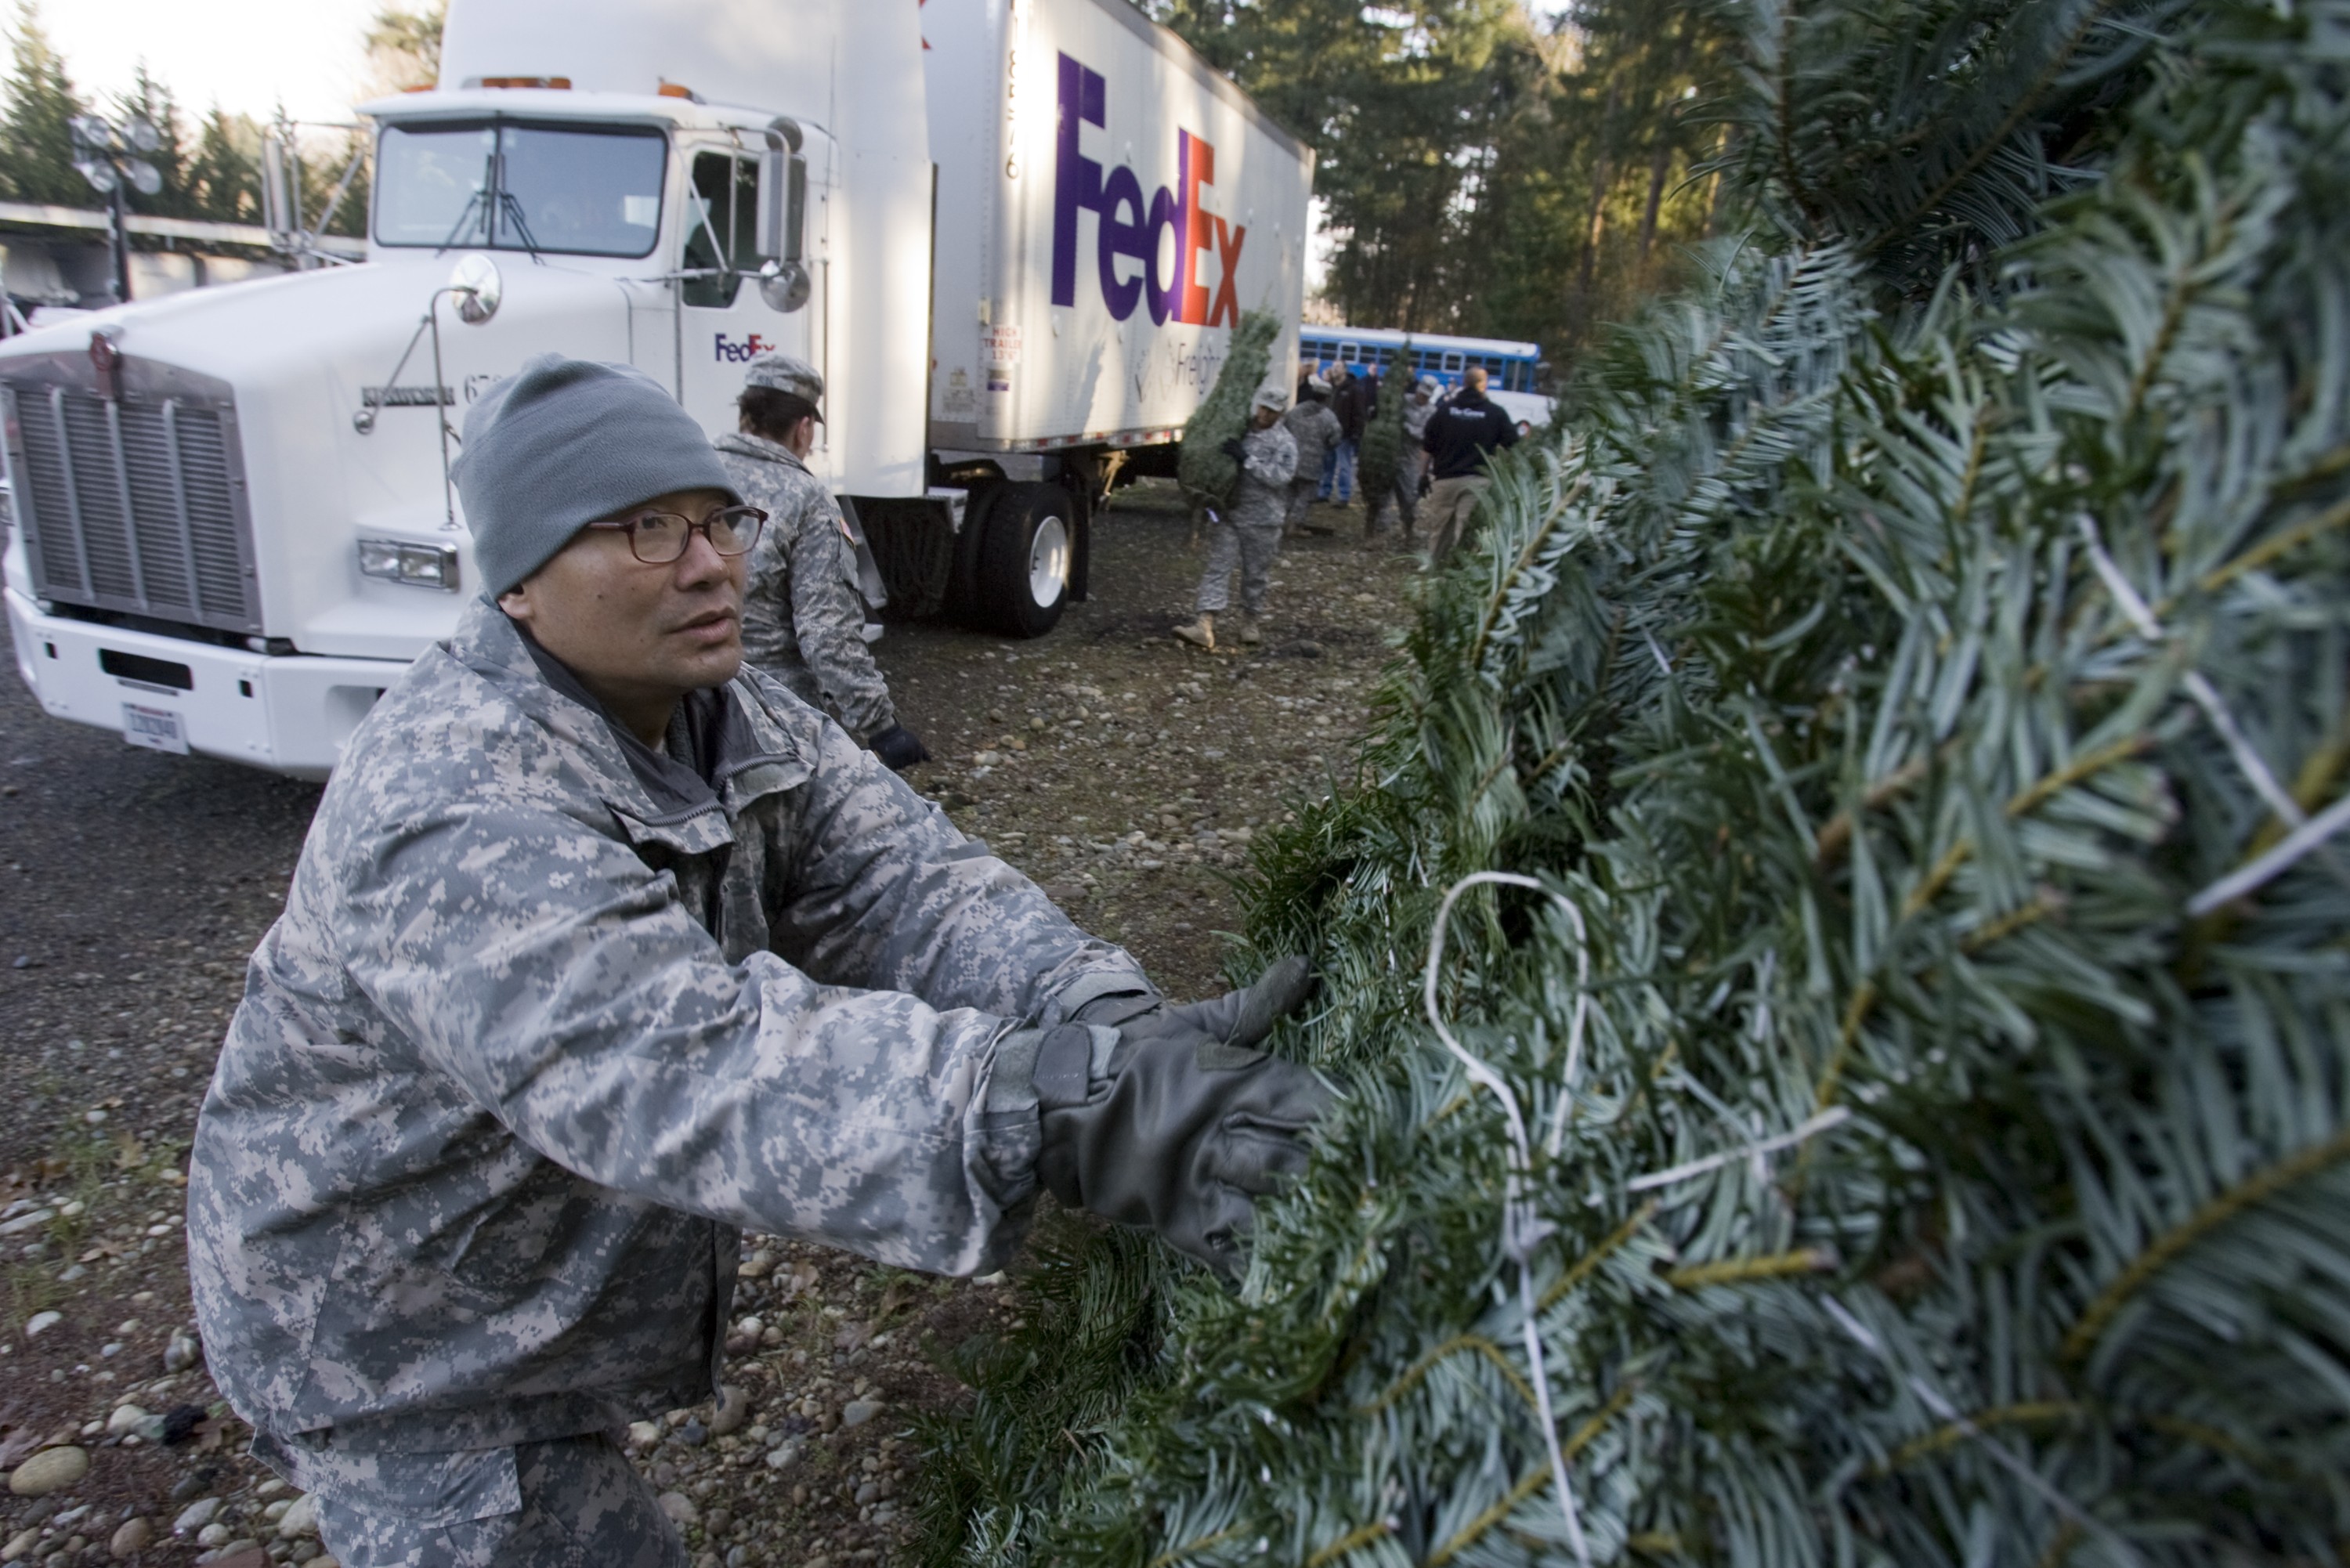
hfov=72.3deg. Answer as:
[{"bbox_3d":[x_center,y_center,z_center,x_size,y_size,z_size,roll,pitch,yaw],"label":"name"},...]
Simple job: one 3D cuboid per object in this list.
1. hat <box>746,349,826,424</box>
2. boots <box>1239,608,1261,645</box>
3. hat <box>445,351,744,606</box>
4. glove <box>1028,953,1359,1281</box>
[{"bbox_3d":[-1.443,-1.497,6.001,0.268,0.199,0.355,8,16,-1],"label":"hat"},{"bbox_3d":[0.505,-1.018,10.127,0.153,0.235,0.157,-5,10,-11],"label":"boots"},{"bbox_3d":[-0.804,-0.413,2.254,0.344,0.310,0.271,-20,11,11],"label":"hat"},{"bbox_3d":[0.026,0.394,1.791,0.325,0.164,0.273,19,45,29],"label":"glove"}]
